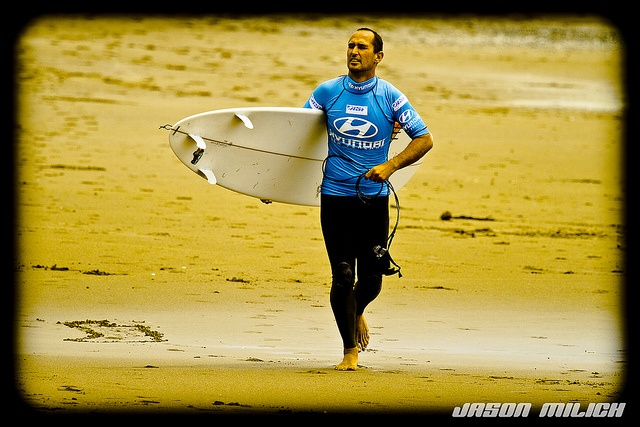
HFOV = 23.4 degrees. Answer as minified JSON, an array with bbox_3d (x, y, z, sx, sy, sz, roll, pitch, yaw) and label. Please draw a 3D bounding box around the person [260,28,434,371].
[{"bbox_3d":[0.412,-0.161,17.065,1.401,3.697,0.943,-20,26,-33],"label":"person"}]
